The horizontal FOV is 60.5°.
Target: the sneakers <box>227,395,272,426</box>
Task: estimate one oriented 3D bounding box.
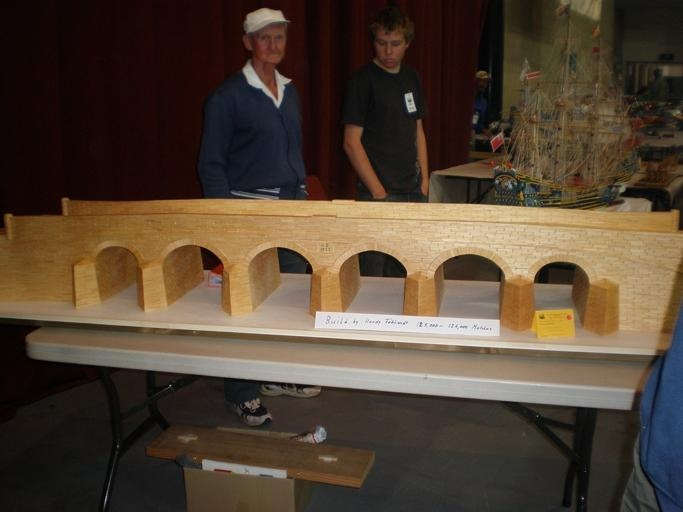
[{"bbox_3d":[-0.551,0.885,3.430,0.293,0.148,0.113,6,15,37],"label":"sneakers"}]

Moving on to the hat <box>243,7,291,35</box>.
[{"bbox_3d":[-0.381,-1.180,2.932,0.201,0.142,0.153,1,10,3],"label":"hat"}]

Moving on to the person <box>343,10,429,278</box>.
[{"bbox_3d":[0.296,-0.935,3.786,0.468,1.178,0.623,3,10,17],"label":"person"}]
